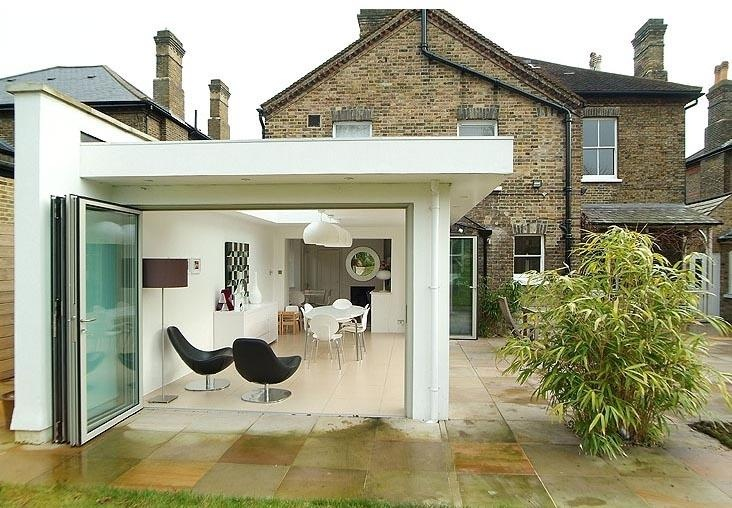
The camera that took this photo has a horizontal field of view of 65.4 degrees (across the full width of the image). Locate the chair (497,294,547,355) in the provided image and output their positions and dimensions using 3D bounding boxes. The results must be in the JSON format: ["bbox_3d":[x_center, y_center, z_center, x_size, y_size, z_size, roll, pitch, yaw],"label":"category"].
[{"bbox_3d":[2.910,1.350,11.126,1.066,1.584,0.813,-2,0,3],"label":"chair"}]

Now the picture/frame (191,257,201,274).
[{"bbox_3d":[-2.980,0.199,10.098,0.147,0.265,0.264,1,-7,9],"label":"picture/frame"}]

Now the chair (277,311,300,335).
[{"bbox_3d":[-1.800,1.603,13.726,0.630,0.637,0.476,1,3,8],"label":"chair"}]

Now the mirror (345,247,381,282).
[{"bbox_3d":[0.002,0.294,17.288,0.976,1.020,0.991,7,1,14],"label":"mirror"}]

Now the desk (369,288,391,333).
[{"bbox_3d":[0.388,1.393,13.603,0.497,0.933,0.347,0,13,2],"label":"desk"}]

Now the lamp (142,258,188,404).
[{"bbox_3d":[-3.068,1.139,8.785,0.614,2.220,0.830,4,13,16],"label":"lamp"}]
